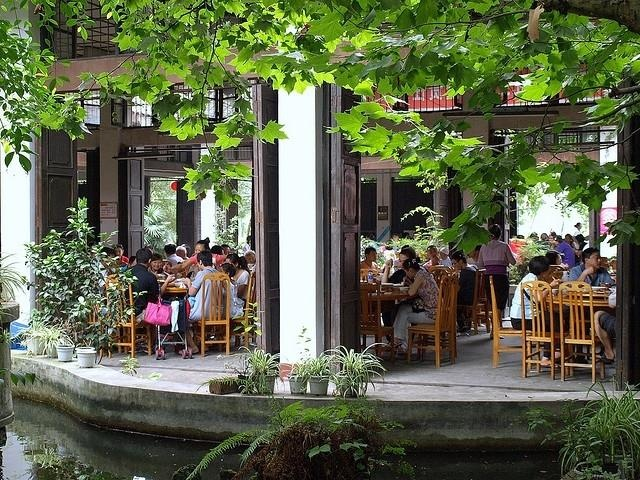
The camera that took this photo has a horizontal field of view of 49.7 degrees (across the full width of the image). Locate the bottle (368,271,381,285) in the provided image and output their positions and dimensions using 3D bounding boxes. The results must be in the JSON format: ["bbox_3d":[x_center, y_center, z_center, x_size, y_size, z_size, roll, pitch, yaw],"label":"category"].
[{"bbox_3d":[0.829,0.576,10.677,0.119,0.207,0.200,3,-5,-43],"label":"bottle"}]

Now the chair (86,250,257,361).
[{"bbox_3d":[-1.731,0.790,9.093,1.354,1.013,1.386,-3,5,-33],"label":"chair"}]

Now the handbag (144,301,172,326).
[{"bbox_3d":[-2.071,0.951,8.827,0.283,0.300,0.116,3,-21,8],"label":"handbag"}]

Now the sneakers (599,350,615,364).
[{"bbox_3d":[3.187,1.322,7.702,0.146,0.139,0.365,-3,-3,22],"label":"sneakers"}]

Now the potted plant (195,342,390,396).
[{"bbox_3d":[-0.202,1.298,6.988,1.595,0.426,1.224,-2,-3,7],"label":"potted plant"}]

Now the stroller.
[{"bbox_3d":[-1.950,1.064,9.241,0.466,0.973,1.052,-1,-3,-13],"label":"stroller"}]

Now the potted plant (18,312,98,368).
[{"bbox_3d":[-3.072,1.171,8.255,0.936,0.394,0.584,20,18,41],"label":"potted plant"}]
